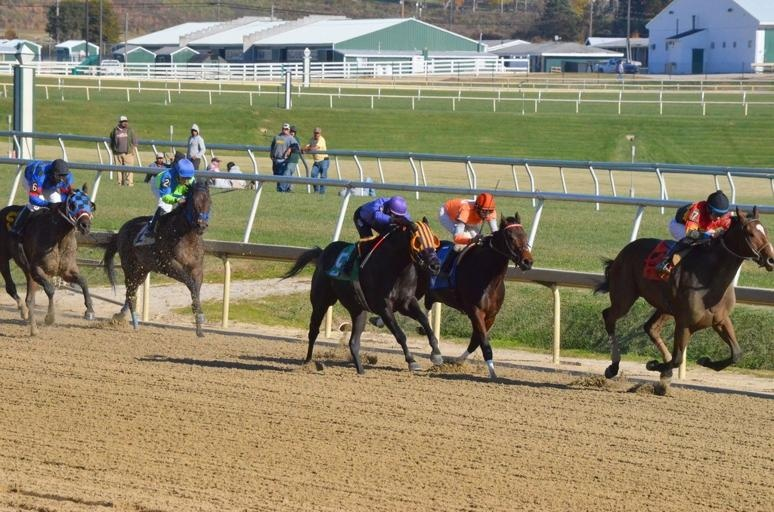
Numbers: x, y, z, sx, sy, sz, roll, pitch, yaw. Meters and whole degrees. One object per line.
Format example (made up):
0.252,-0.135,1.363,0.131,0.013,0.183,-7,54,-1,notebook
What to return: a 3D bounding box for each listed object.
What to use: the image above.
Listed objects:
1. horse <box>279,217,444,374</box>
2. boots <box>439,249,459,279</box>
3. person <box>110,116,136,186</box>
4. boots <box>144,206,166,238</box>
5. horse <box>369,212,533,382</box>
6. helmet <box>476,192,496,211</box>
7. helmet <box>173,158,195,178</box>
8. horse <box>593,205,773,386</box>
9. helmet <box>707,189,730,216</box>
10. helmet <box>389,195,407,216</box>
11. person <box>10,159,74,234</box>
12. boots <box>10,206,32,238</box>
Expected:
-0.441,0.501,19.558,0.885,2.194,3.888,-8,8,-37,horse
0.859,0.152,19.143,0.100,0.379,0.146,29,-2,35,boots
-5.082,-2.041,26.611,0.480,1.212,2.169,-1,7,-10,person
-3.457,-0.467,20.607,0.114,0.505,0.271,30,8,-45,boots
1.008,0.569,19.654,0.813,2.240,3.316,3,3,-29,horse
1.368,-0.748,19.196,0.190,0.249,0.208,12,-27,-2,helmet
-2.969,-1.276,20.268,0.220,0.146,0.302,11,46,-22,helmet
4.024,0.624,18.782,2.238,2.502,0.744,3,8,16,horse
4.490,-0.678,18.699,0.263,0.313,0.332,0,-13,0,helmet
0.147,-0.670,18.972,0.260,0.259,0.434,1,7,0,helmet
-4.968,-0.851,20.204,0.942,1.104,0.350,3,8,17,person
-5.355,-0.457,20.257,0.221,0.114,0.485,23,50,5,boots
